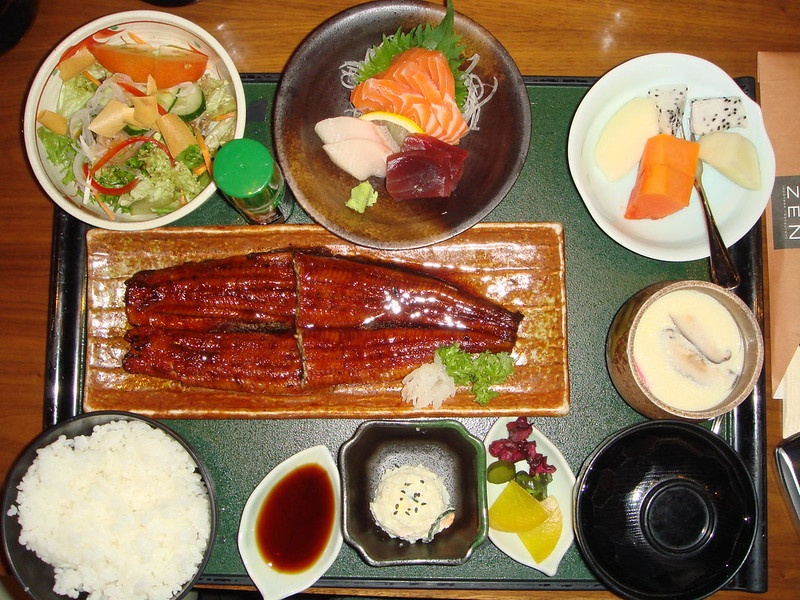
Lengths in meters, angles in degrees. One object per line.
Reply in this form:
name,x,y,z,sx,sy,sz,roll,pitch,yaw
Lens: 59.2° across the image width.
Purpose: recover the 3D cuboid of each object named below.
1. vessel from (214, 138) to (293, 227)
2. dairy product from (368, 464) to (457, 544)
vessel,-0.914,-0.727,4.461,0.378,0.656,0.408,-31,83,-5
dairy product,0.089,1.304,4.462,0.544,0.179,0.473,15,81,1
